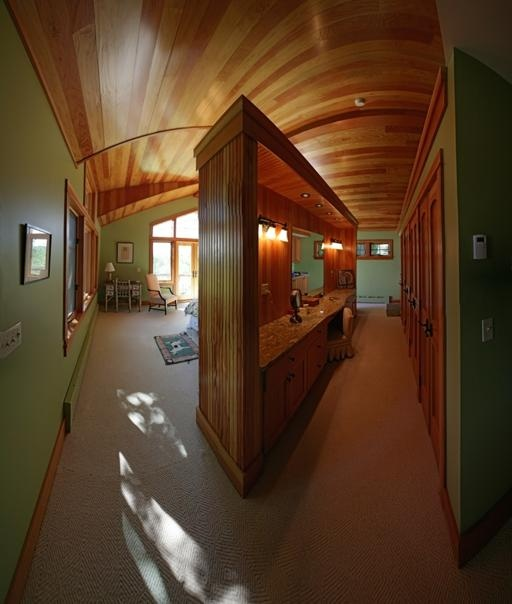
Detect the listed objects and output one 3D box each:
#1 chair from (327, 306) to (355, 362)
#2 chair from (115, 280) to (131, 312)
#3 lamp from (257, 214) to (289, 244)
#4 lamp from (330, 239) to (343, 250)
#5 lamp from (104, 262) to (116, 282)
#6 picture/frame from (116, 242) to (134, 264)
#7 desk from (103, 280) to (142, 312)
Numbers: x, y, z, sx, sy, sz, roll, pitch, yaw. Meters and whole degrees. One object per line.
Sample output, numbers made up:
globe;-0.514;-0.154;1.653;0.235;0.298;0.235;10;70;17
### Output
chair;1.066;0.286;4.859;0.358;0.940;0.610;0;2;3
chair;-2.990;-0.143;8.648;0.357;0.985;0.486;-3;12;-18
lamp;0.197;-0.649;3.511;0.109;0.275;0.586;10;9;25
lamp;1.338;-0.963;6.491;0.086;0.180;0.679;3;12;20
lamp;-3.308;-0.674;8.719;0.226;0.434;0.688;-3;11;-22
picture/frame;-3.104;-1.165;9.064;0.348;0.688;0.020;0;12;-38
desk;-3.010;-0.197;8.758;0.568;0.800;0.816;0;8;-12
